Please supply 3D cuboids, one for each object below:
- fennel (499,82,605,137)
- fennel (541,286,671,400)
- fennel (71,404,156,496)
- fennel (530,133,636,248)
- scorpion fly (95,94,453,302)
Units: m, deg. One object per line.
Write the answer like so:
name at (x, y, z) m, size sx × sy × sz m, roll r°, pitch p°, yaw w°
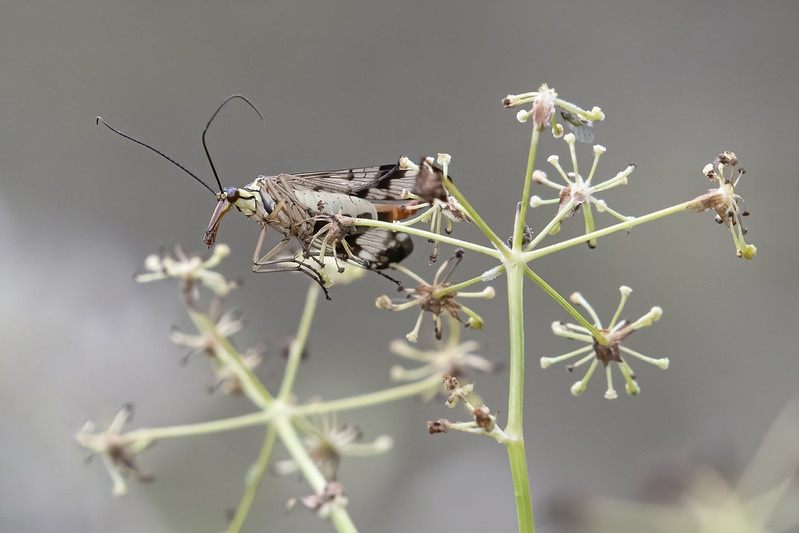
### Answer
fennel at (0.366, -0.387, 2.135) m, size 0.216 × 0.221 × 0.097 m, roll 0°, pitch -87°, yaw 12°
fennel at (0.515, 0.155, 2.185) m, size 0.250 × 0.270 × 0.266 m, roll 43°, pitch -58°, yaw -14°
fennel at (-0.761, 0.492, 2.381) m, size 0.174 × 0.167 × 0.262 m, roll -3°, pitch -77°, yaw 52°
fennel at (0.469, -0.194, 2.308) m, size 0.161 × 0.190 × 0.326 m, roll -5°, pitch -72°, yaw -32°
scorpion fly at (-0.186, -0.187, 2.320) m, size 0.660 × 0.485 × 0.406 m, roll 8°, pitch -57°, yaw 10°
